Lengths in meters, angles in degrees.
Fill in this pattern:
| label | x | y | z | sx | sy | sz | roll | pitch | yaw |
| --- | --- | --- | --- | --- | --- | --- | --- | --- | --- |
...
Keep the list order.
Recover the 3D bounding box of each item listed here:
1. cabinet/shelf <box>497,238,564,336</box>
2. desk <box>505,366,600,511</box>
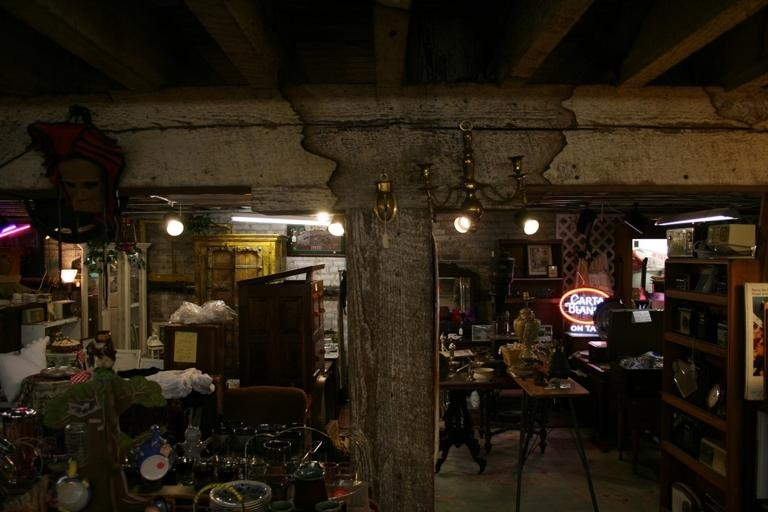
| label | x | y | z | sx | sy | sz | roll | pitch | yaw |
| --- | --- | --- | --- | --- | --- | --- | --- | --- | --- |
| cabinet/shelf | 2.109 | 0.433 | 9.290 | 0.942 | 1.353 | 0.502 | 0 | -2 | 0 |
| desk | 1.703 | 1.708 | 6.772 | 0.812 | 1.238 | 2.425 | 0 | -3 | 13 |
